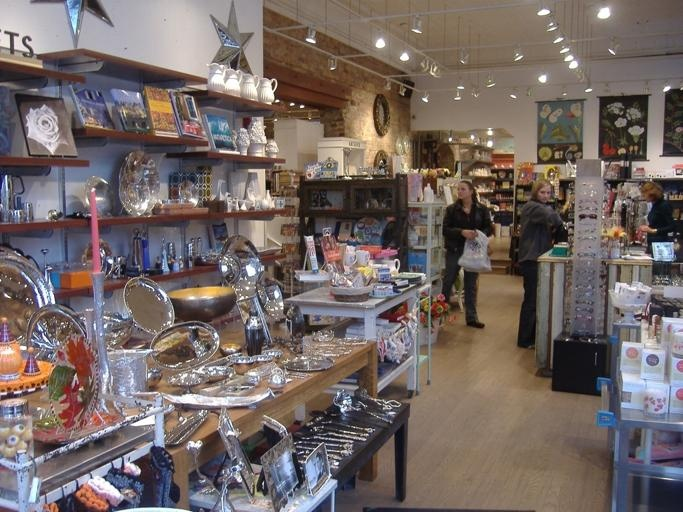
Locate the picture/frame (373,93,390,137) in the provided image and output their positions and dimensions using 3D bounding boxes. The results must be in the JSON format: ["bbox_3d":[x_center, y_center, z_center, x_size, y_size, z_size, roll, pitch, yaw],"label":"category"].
[{"bbox_3d":[0.966,-3.397,12.859,0.121,0.977,0.974,-1,-2,23],"label":"picture/frame"}]

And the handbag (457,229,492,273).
[{"bbox_3d":[1.738,-0.097,7.026,0.428,0.566,0.207,3,11,27],"label":"handbag"}]

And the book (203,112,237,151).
[{"bbox_3d":[-1.077,-1.066,4.561,0.083,0.357,0.363,-11,-3,27],"label":"book"}]

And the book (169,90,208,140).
[{"bbox_3d":[-1.194,-1.096,4.167,0.071,0.320,0.313,-16,-8,27],"label":"book"}]

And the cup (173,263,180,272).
[{"bbox_3d":[-1.288,0.084,4.169,0.054,0.066,0.057,0,-2,0],"label":"cup"}]

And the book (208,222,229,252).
[{"bbox_3d":[-1.089,-0.169,4.682,0.044,0.348,0.244,-4,1,30],"label":"book"}]

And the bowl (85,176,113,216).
[{"bbox_3d":[-1.699,-0.423,3.738,0.174,0.276,0.285,-3,8,-28],"label":"bowl"}]

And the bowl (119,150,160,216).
[{"bbox_3d":[-1.494,-0.543,3.969,0.298,0.467,0.216,-3,8,-30],"label":"bowl"}]

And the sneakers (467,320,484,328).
[{"bbox_3d":[1.864,0.940,7.499,0.232,0.112,0.089,0,5,36],"label":"sneakers"}]

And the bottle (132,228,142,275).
[{"bbox_3d":[-1.540,-0.053,4.043,0.077,0.297,0.279,-2,7,-20],"label":"bottle"}]

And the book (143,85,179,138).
[{"bbox_3d":[-1.337,-1.074,3.953,0.077,0.359,0.338,-14,-7,22],"label":"book"}]

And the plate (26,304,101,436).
[{"bbox_3d":[-0.832,0.347,1.606,0.250,0.367,0.071,-9,-13,38],"label":"plate"}]

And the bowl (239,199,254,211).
[{"bbox_3d":[-0.869,-0.467,4.885,0.095,0.078,0.104,-2,3,0],"label":"bowl"}]

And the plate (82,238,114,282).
[{"bbox_3d":[-1.642,0.030,3.627,0.214,0.254,0.685,-3,8,-26],"label":"plate"}]

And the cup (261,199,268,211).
[{"bbox_3d":[-0.726,-0.490,5.064,0.074,0.079,0.078,2,3,0],"label":"cup"}]

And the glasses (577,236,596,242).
[{"bbox_3d":[2.310,-0.166,5.034,0.145,0.048,0.038,1,3,15],"label":"glasses"}]

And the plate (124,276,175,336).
[{"bbox_3d":[-1.073,0.267,2.798,0.045,0.276,0.262,21,1,-41],"label":"plate"}]

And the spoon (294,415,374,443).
[{"bbox_3d":[-0.029,0.878,2.690,0.225,0.066,0.138,-8,2,32],"label":"spoon"}]

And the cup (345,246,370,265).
[{"bbox_3d":[0.096,0.001,4.238,0.195,0.199,0.115,1,-2,-37],"label":"cup"}]

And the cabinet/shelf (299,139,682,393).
[{"bbox_3d":[1.730,0.029,6.097,3.439,2.494,3.504,1,3,25],"label":"cabinet/shelf"}]

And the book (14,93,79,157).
[{"bbox_3d":[-1.809,-0.793,3.256,0.032,0.472,0.376,-14,-1,36],"label":"book"}]

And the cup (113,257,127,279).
[{"bbox_3d":[-1.583,0.070,3.831,0.056,0.147,0.218,0,7,-9],"label":"cup"}]

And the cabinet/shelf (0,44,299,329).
[{"bbox_3d":[-1.358,-0.514,3.701,0.386,1.397,2.349,1,6,19],"label":"cabinet/shelf"}]

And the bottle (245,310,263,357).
[{"bbox_3d":[-0.469,0.432,2.854,0.094,0.226,0.097,2,10,0],"label":"bottle"}]

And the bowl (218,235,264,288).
[{"bbox_3d":[-0.576,0.022,3.125,0.274,0.282,0.149,-2,7,-21],"label":"bowl"}]
